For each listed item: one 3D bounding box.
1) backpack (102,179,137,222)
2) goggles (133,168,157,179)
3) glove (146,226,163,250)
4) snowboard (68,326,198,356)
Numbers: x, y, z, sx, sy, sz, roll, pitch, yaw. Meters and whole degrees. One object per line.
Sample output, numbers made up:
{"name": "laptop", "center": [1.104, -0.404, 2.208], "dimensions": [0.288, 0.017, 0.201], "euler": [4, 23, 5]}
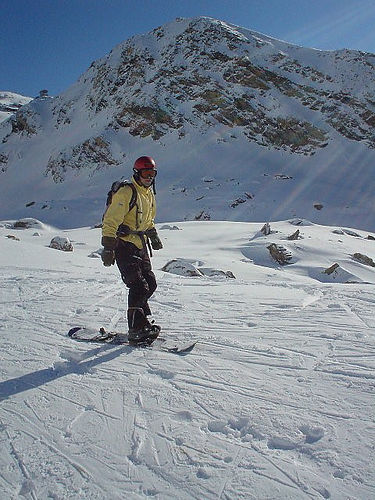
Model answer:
{"name": "backpack", "center": [-0.683, -0.492, 4.638], "dimensions": [0.388, 0.351, 0.324], "euler": [-7, 16, -25]}
{"name": "goggles", "center": [-0.448, -0.778, 4.772], "dimensions": [0.179, 0.078, 0.137], "euler": [-4, -3, 37]}
{"name": "glove", "center": [-0.380, -0.133, 5.334], "dimensions": [0.144, 0.258, 0.066], "euler": [-27, -6, -39]}
{"name": "snowboard", "center": [-0.544, 0.874, 4.610], "dimensions": [1.328, 0.098, 0.517], "euler": [5, 14, 18]}
